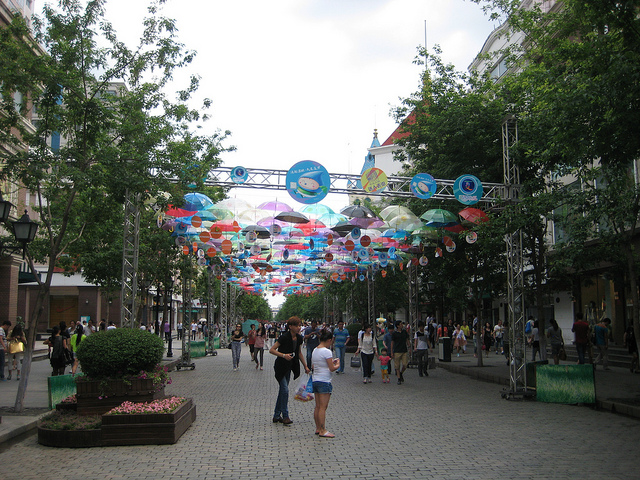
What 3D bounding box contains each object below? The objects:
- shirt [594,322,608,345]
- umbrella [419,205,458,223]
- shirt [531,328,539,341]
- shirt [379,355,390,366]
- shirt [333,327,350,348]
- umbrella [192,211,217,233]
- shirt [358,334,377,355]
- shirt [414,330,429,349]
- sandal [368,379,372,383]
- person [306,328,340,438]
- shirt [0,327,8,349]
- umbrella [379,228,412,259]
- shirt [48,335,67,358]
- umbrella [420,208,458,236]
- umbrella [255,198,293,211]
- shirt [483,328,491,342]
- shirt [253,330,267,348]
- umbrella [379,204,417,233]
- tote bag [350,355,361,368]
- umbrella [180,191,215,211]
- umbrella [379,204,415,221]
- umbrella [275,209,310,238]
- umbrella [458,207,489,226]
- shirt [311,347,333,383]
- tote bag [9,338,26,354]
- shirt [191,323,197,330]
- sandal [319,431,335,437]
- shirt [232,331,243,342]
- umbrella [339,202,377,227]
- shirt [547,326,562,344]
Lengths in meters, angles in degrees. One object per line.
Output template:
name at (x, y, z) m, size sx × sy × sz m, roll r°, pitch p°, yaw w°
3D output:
shirt at (11.965, 3.974, 24.849) m, size 0.433 × 0.862 × 0.742 m, roll -6°, pitch -13°, yaw 26°
umbrella at (4.475, -0.932, 22.398) m, size 0.768 × 0.517 × 0.765 m, roll 3°, pitch -2°, yaw -20°
shirt at (10.205, 4.458, 27.658) m, size 0.235 × 0.577 × 0.372 m, roll -3°, pitch -12°, yaw 14°
shirt at (2.583, 4.779, 23.299) m, size 0.444 × 0.408 × 0.253 m, roll 2°, pitch -17°, yaw -2°
shirt at (0.902, 4.262, 25.686) m, size 0.539 × 0.903 × 0.663 m, roll 3°, pitch -12°, yaw -13°
umbrella at (-4.586, -0.781, 23.100) m, size 0.788 × 0.813 × 0.799 m, roll -5°, pitch -7°, yaw 32°
shirt at (1.825, 4.056, 22.826) m, size 0.992 × 1.028 × 0.614 m, roll 0°, pitch 2°, yaw -1°
shirt at (4.377, 4.248, 25.130) m, size 0.465 × 0.796 × 0.715 m, roll -2°, pitch -12°, yaw 8°
sandal at (1.930, 5.447, 22.664) m, size 0.139 × 0.076 × 0.192 m, roll 1°, pitch -6°, yaw 5°
person at (0.097, 3.282, 13.540) m, size 0.785 × 2.410 × 0.845 m, roll -3°, pitch -12°, yaw 14°
shirt at (-12.896, 4.003, 23.724) m, size 0.202 × 0.835 × 2.543 m, roll 6°, pitch -14°, yaw -26°
umbrella at (3.342, 0.082, 26.158) m, size 1.271 × 1.302 × 1.259 m, roll 3°, pitch -7°, yaw -43°
shirt at (-9.081, 3.652, 20.198) m, size 0.385 × 0.784 × 0.409 m, roll 6°, pitch -13°, yaw -26°
umbrella at (4.678, -0.671, 23.046) m, size 1.232 × 1.064 × 1.237 m, roll 1°, pitch 1°, yaw 15°
umbrella at (-1.927, -1.467, 24.768) m, size 1.439 × 0.408 × 0.738 m, roll 1°, pitch -12°, yaw -4°
shirt at (10.345, 5.882, 36.271) m, size 0.353 × 0.883 × 1.340 m, roll -2°, pitch -12°, yaw 11°
shirt at (-3.010, 4.851, 28.484) m, size 0.563 × 0.760 × 0.925 m, roll 2°, pitch -12°, yaw -7°
umbrella at (3.065, -0.954, 24.394) m, size 0.819 × 0.828 × 0.836 m, roll 2°, pitch -17°, yaw -4°
tote bag at (1.740, 5.971, 28.809) m, size 0.642 × 0.716 × 0.429 m, roll 6°, pitch -17°, yaw -4°
umbrella at (-4.790, -1.478, 22.424) m, size 1.118 × 1.100 × 0.555 m, roll 2°, pitch -52°, yaw -7°
umbrella at (3.332, -1.189, 24.853) m, size 1.079 × 0.567 × 1.102 m, roll 1°, pitch -10°, yaw -7°
umbrella at (-1.210, -0.790, 25.281) m, size 1.714 × 1.488 × 1.734 m, roll 1°, pitch -9°, yaw -2°
umbrella at (5.554, -0.938, 21.209) m, size 0.860 × 0.619 × 0.625 m, roll 6°, pitch -13°, yaw -25°
shirt at (0.046, 2.897, 13.716) m, size 0.458 × 0.788 × 0.801 m, roll 8°, pitch -11°, yaw -31°
tote bag at (-12.284, 4.279, 23.659) m, size 0.414 × 0.606 × 0.619 m, roll -6°, pitch -13°, yaw 26°
shirt at (-11.030, 7.428, 50.734) m, size 0.627 × 0.630 × 0.366 m, roll 3°, pitch -15°, yaw -10°
sandal at (0.130, 4.381, 13.213) m, size 0.381 × 0.113 × 0.139 m, roll -2°, pitch -1°, yaw 21°
shirt at (-3.777, 4.359, 26.564) m, size 0.454 × 0.473 × 0.616 m, roll 2°, pitch -12°, yaw -9°
umbrella at (1.640, -1.087, 25.189) m, size 0.897 × 0.739 × 0.912 m, roll 3°, pitch -5°, yaw 19°
shirt at (10.360, 4.201, 25.737) m, size 0.758 × 1.007 × 0.574 m, roll 1°, pitch -3°, yaw 18°
